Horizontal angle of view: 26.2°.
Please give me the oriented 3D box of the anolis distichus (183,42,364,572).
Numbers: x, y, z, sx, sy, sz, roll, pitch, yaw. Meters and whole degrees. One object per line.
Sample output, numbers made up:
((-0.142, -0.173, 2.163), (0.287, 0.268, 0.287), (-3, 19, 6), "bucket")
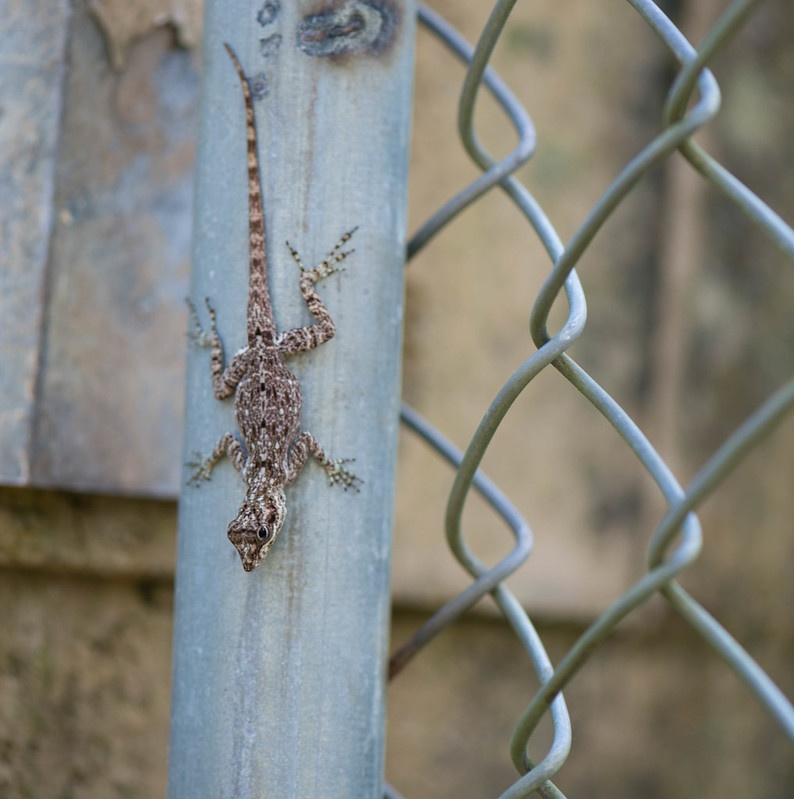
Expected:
((-0.230, -0.144, 3.164), (0.277, 0.128, 1.033), (-1, 87, 4), "anolis distichus")
